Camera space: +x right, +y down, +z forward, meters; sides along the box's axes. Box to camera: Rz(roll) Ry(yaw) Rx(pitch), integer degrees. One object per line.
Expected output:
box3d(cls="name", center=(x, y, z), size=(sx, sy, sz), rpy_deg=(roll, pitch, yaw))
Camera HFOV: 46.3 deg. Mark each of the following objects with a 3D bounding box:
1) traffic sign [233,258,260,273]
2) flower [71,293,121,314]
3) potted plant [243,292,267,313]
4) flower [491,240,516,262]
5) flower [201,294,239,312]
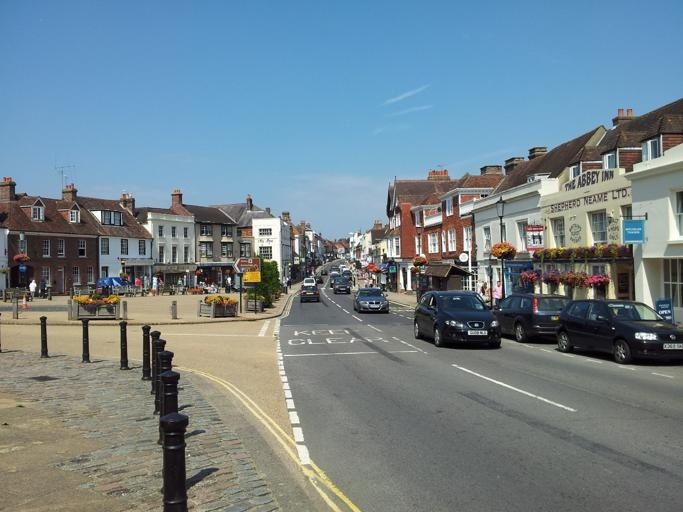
box3d(cls="traffic sign", center=(-4.943, 0.369, 42.026), size=(0.830, 0.837, 2.093), rpy_deg=(-3, -5, 15))
box3d(cls="flower", center=(-10.786, 2.112, 35.281), size=(1.817, 0.940, 0.806), rpy_deg=(-2, -4, -8))
box3d(cls="potted plant", center=(-4.780, 2.493, 43.582), size=(1.024, 0.906, 1.016), rpy_deg=(0, -5, -3))
box3d(cls="flower", center=(7.432, -0.326, 37.297), size=(0.937, 0.918, 1.110), rpy_deg=(2, -5, -21))
box3d(cls="flower", center=(-6.010, 2.268, 39.659), size=(1.465, 0.777, 2.459), rpy_deg=(-1, -5, -12))
